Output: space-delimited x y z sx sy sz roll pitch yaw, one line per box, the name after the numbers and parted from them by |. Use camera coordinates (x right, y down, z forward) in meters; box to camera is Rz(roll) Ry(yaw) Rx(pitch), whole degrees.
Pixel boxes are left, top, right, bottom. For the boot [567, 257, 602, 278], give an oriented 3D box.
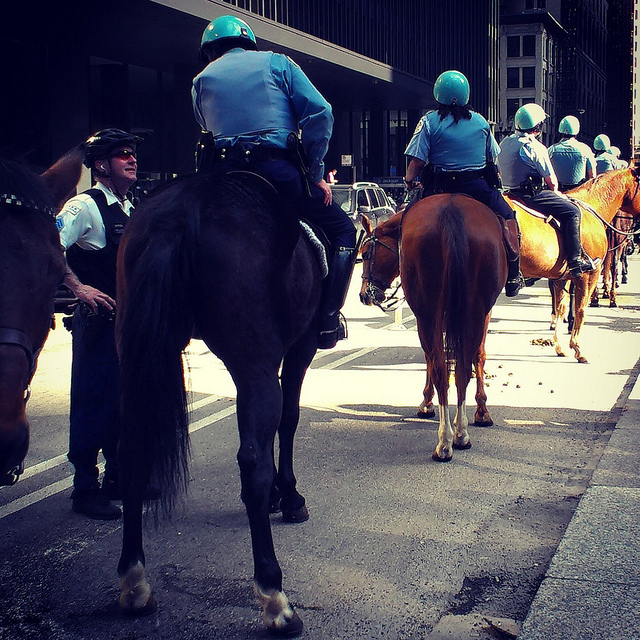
3.130 -0.592 8.823 0.552 0.267 0.176 -1 9 -37 | boot

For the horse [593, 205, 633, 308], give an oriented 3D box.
4.889 -1.001 12.719 0.310 1.627 1.151 7 -9 22 | horse

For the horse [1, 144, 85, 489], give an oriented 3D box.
-1.186 0.005 3.132 0.251 1.272 0.612 -2 9 -19 | horse

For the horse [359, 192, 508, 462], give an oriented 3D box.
0.830 -0.043 6.800 0.679 2.252 2.917 -3 0 -8 | horse

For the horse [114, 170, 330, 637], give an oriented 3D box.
-0.460 0.320 3.341 0.859 1.901 0.800 1 9 -5 | horse

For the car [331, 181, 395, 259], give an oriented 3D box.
1.338 -2.754 21.212 1.721 1.838 3.281 1 6 25 | car
